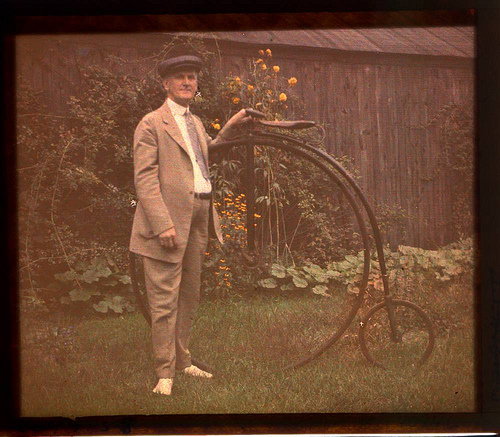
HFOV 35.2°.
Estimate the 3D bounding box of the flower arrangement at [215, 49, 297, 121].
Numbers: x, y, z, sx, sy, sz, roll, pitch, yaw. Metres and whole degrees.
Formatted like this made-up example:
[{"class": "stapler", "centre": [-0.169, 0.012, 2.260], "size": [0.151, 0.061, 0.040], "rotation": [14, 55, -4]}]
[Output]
[{"class": "flower arrangement", "centre": [0.034, -0.850, 5.101], "size": [0.382, 0.500, 0.370], "rotation": [-13, 23, -34]}]
